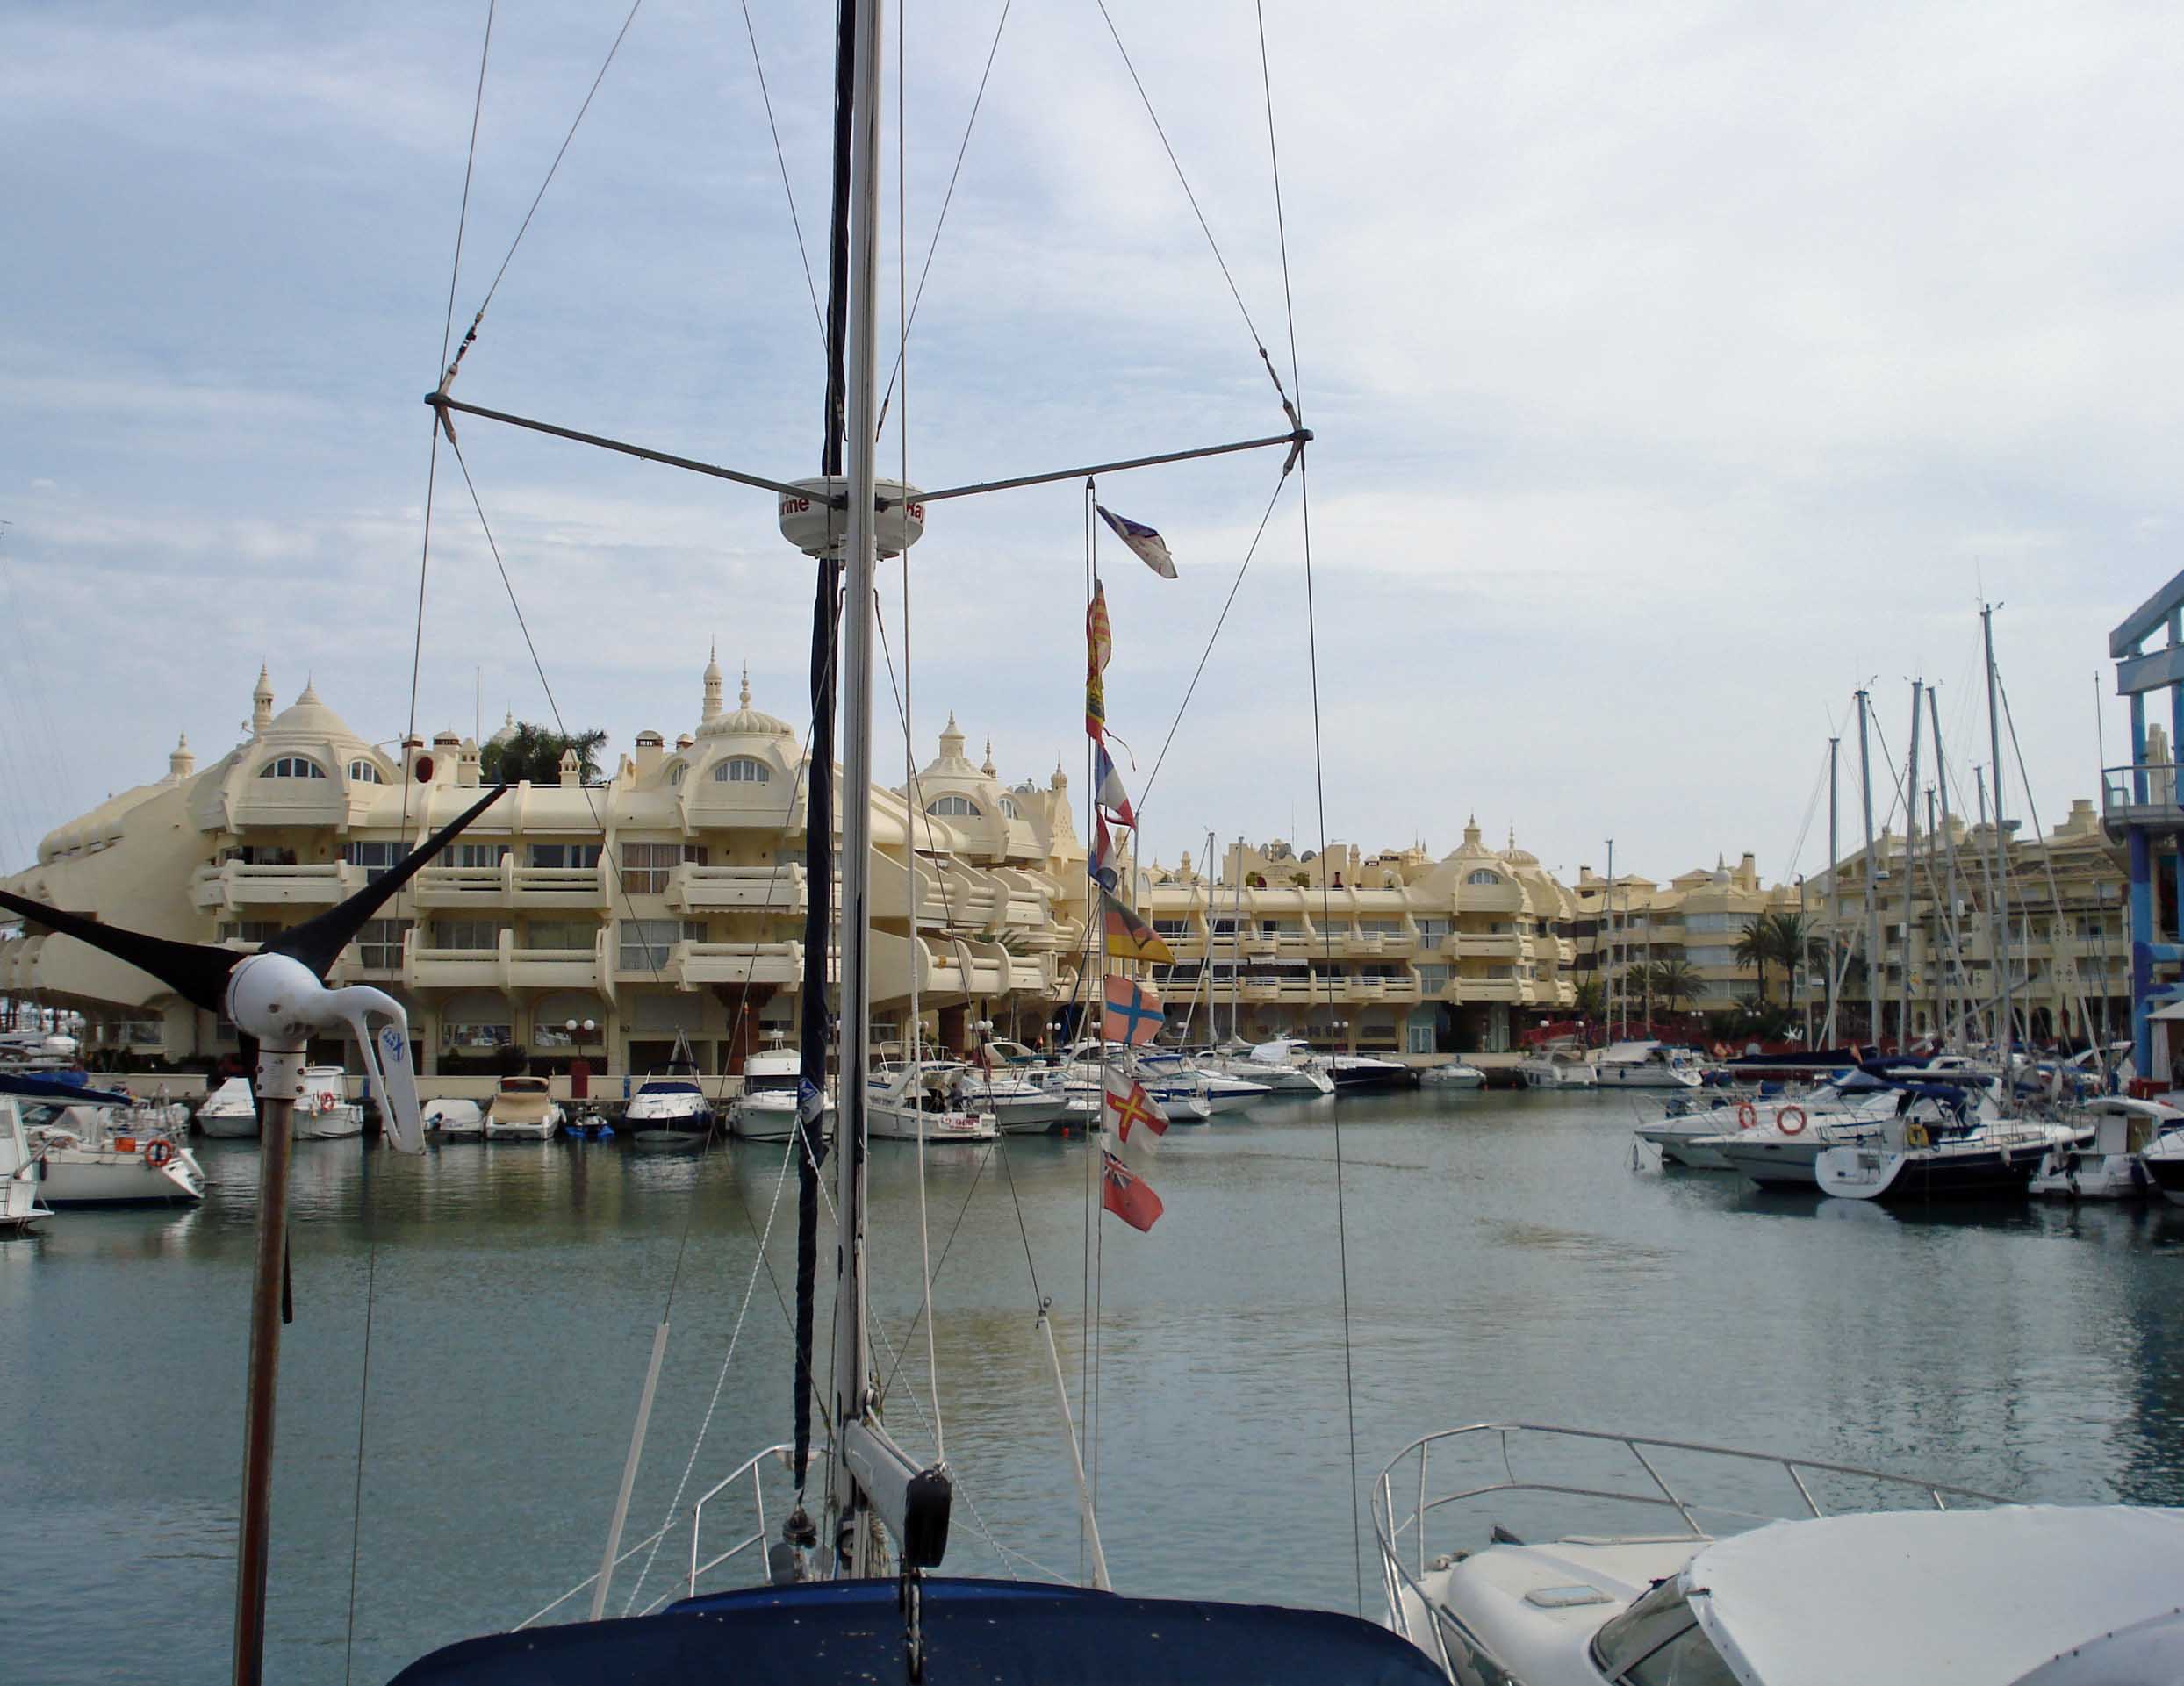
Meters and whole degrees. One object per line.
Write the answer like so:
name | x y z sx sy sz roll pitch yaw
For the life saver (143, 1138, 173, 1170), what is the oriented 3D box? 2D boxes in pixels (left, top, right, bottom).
life saver | -18.232 6.089 48.593 0.488 0.522 0.150 10 -8 -23

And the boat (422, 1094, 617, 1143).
boat | -15.511 7.393 67.126 4.841 1.256 2.500 1 -6 -8

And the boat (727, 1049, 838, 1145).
boat | -8.419 6.550 64.089 1.608 2.240 4.838 1 -6 -9

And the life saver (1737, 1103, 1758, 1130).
life saver | 14.673 6.129 55.797 0.469 0.507 0.121 4 3 4

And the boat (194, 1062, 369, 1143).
boat | -21.501 6.974 66.516 4.159 1.904 8.849 2 -6 -17

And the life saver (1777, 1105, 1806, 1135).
life saver | 15.363 6.086 54.630 0.688 0.598 1.212 -2 -6 16
